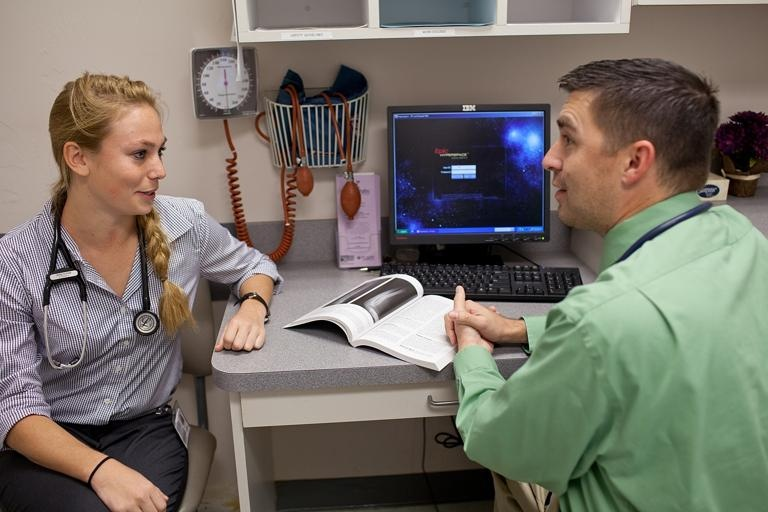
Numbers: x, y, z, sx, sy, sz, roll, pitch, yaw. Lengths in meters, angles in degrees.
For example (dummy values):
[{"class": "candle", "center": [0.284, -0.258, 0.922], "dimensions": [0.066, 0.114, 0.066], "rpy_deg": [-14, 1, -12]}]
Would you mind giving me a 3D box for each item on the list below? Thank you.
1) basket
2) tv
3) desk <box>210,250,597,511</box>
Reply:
[{"class": "basket", "center": [-0.265, -0.459, 2.129], "dimensions": [0.296, 0.196, 0.306], "rpy_deg": [4, 18, 17]}, {"class": "tv", "center": [0.304, -0.283, 2.081], "dimensions": [0.566, 0.565, 0.187], "rpy_deg": [0, 3, 2]}, {"class": "desk", "center": [-0.068, 0.118, 1.949], "dimensions": [1.266, 0.851, 0.854], "rpy_deg": [-2, 16, -7]}]
